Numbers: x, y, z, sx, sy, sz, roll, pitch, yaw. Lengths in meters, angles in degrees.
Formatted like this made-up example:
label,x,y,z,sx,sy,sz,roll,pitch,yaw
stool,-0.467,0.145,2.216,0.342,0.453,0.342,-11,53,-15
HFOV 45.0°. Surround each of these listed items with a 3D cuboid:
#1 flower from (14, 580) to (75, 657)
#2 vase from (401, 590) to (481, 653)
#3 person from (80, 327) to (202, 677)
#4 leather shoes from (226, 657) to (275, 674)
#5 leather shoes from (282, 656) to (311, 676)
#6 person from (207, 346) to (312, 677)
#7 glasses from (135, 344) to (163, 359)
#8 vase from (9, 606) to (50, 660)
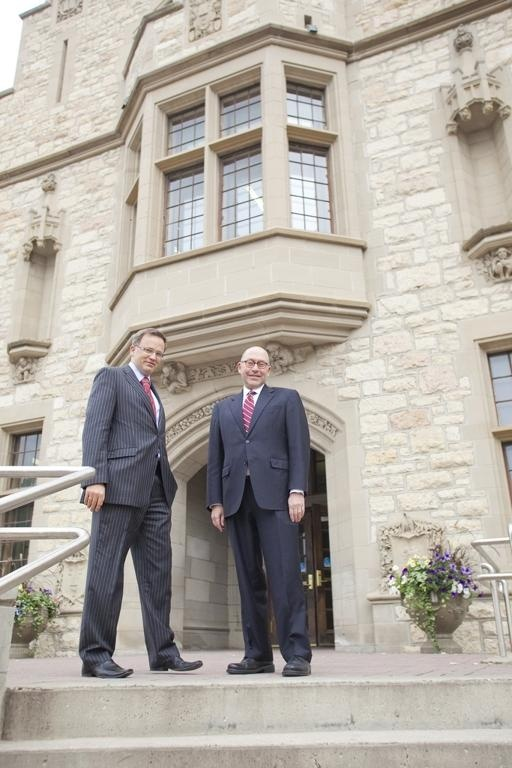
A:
label,x,y,z,sx,sy,sz,roll,pitch,yaw
flower,-2.582,2.629,6.826,0.628,0.647,0.624,2,-26,17
vase,1.528,2.022,5.144,0.558,0.446,0.519,-2,-42,6
person,-0.587,0.487,2.962,0.452,1.675,0.738,-6,-21,13
leather shoes,-0.006,1.305,2.846,0.231,0.097,0.085,9,-23,-16
leather shoes,0.171,1.179,2.567,0.109,0.060,0.197,-2,-20,1
person,0.056,0.645,3.006,0.324,1.404,0.645,17,-27,-40
glasses,-0.557,-0.156,3.217,0.087,0.041,0.101,1,-24,-6
vase,-2.466,2.700,6.658,0.272,0.475,0.586,-3,-20,4
